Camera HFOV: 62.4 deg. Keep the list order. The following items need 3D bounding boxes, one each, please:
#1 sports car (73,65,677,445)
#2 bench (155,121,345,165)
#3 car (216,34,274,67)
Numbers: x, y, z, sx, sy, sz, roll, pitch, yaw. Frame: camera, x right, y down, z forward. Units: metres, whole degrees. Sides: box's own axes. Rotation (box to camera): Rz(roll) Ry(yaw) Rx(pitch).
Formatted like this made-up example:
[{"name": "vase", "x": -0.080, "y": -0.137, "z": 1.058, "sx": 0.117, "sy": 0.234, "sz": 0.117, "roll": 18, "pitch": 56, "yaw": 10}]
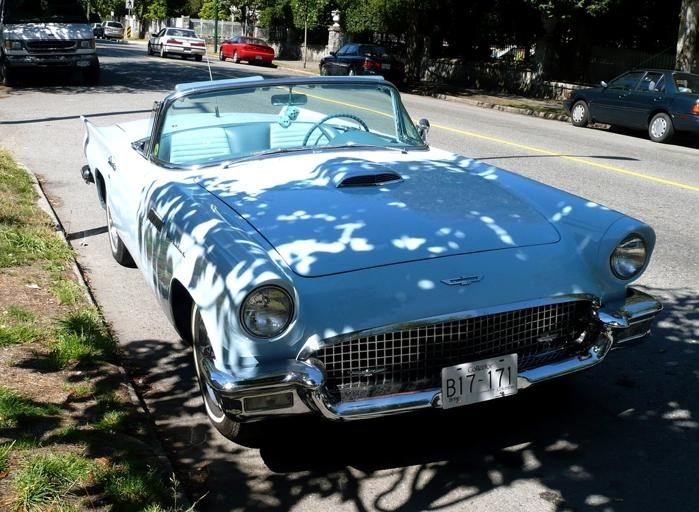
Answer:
[{"name": "sports car", "x": -0.571, "y": -0.683, "z": 5.089, "sx": 3.045, "sy": 1.327, "sz": 4.955, "roll": -13, "pitch": 30, "yaw": -28}, {"name": "bench", "x": -0.801, "y": -0.977, "z": 4.741, "sx": 1.440, "sy": 0.276, "sz": 0.337, "roll": -1, "pitch": 30, "yaw": 22}, {"name": "car", "x": -6.636, "y": -13.857, "z": 38.690, "sx": 3.160, "sy": 1.869, "sz": 4.081, "roll": -4, "pitch": 18, "yaw": -20}]
